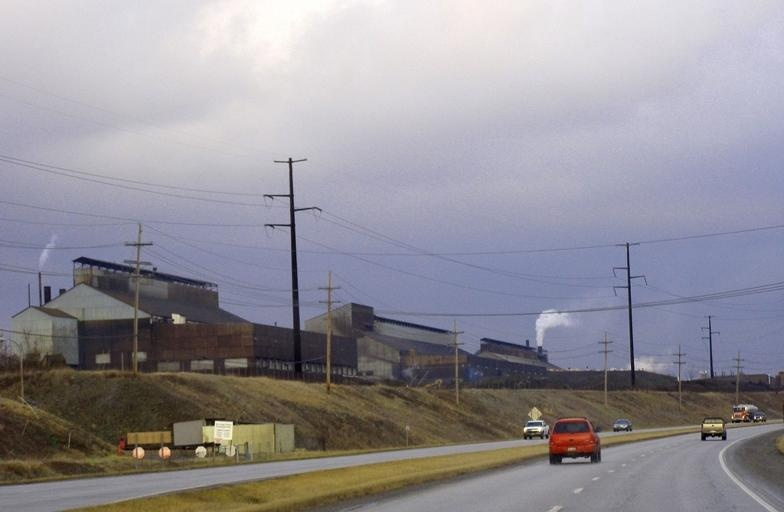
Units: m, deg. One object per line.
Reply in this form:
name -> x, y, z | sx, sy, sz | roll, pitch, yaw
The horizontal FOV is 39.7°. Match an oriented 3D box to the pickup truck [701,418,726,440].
pickup truck -> 35.552, 19.375, 122.016 | 1.817, 1.618, 3.727 | -1, -7, 12

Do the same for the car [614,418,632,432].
car -> 31.520, 23.301, 149.627 | 1.580, 1.235, 2.771 | -2, -11, 18

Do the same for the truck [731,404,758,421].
truck -> 58.820, 26.666, 183.748 | 2.400, 3.260, 6.827 | 1, -2, 41

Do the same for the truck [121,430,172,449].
truck -> -23.486, 17.970, 105.532 | 4.916, 1.853, 1.706 | 5, 0, 19
